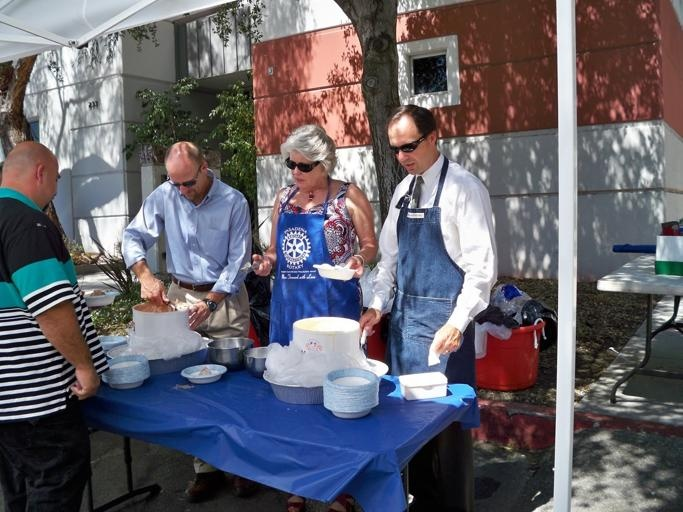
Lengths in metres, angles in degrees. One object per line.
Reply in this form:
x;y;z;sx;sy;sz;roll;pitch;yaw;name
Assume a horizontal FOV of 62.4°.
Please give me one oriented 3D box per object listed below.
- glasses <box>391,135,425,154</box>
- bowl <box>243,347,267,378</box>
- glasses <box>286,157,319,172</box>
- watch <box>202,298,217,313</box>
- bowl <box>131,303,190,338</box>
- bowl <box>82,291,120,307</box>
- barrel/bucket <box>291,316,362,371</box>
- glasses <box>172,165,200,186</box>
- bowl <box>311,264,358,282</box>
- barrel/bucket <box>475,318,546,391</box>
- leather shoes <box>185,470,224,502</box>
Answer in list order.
0.397;-0.673;3.404;0.214;0.096;0.088;-2;11;10;glasses
-0.510;0.640;3.391;0.126;0.111;0.162;1;-7;-1;bowl
-0.268;-0.607;3.756;0.256;0.104;0.102;5;14;36;glasses
-0.896;0.341;3.896;0.089;0.105;0.063;-15;17;43;watch
-1.116;0.355;3.581;0.218;0.170;0.238;2;6;0;bowl
-1.981;0.361;4.593;0.203;0.073;0.209;-1;0;0;bowl
-0.086;0.470;3.130;0.248;0.223;0.279;2;0;-8;barrel/bucket
-1.102;-0.563;4.052;0.204;0.129;0.126;-8;12;-18;glasses
-0.019;0.088;3.427;0.206;0.106;0.197;-4;12;1;bowl
1.566;0.875;5.229;0.590;0.554;0.640;0;-2;0;barrel/bucket
-1.012;1.729;4.276;0.117;0.171;0.346;3;-4;28;leather shoes
